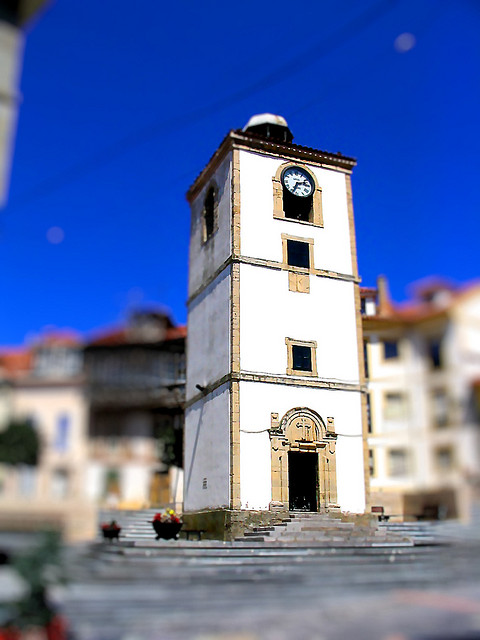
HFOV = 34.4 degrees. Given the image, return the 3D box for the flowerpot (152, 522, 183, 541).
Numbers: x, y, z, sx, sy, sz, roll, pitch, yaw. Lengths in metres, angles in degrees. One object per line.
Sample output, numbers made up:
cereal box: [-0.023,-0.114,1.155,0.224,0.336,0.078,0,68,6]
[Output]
flowerpot: [-1.858,5.413,19.878,0.641,0.348,0.490,3,-29,-2]

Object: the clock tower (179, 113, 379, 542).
clock tower: [1.208,0.269,27.255,6.735,14.474,5.619,-1,-11,7]

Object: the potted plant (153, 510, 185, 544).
potted plant: [-1.807,5.327,20.011,0.804,0.522,0.668,1,-9,2]

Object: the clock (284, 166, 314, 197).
clock: [2.235,-5.181,29.111,1.294,1.183,0.224,6,-13,-28]
